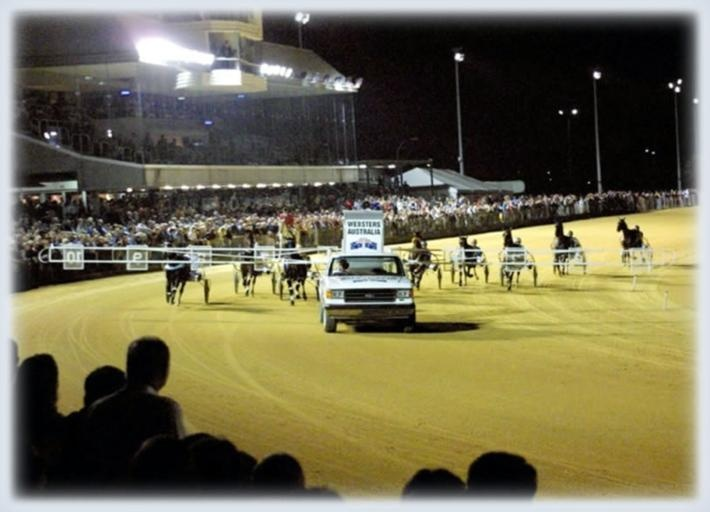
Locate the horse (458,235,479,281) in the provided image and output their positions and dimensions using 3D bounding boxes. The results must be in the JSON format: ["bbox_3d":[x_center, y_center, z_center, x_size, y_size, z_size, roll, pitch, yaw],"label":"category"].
[{"bbox_3d":[4.507,-0.149,24.891,0.471,1.139,1.916,1,17,11],"label":"horse"}]

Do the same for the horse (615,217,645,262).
[{"bbox_3d":[12.375,-0.767,29.203,2.097,1.597,0.579,0,4,-31],"label":"horse"}]

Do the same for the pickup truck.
[{"bbox_3d":[0.301,0.851,15.330,2.149,1.787,1.987,-2,3,-1],"label":"pickup truck"}]

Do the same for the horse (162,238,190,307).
[{"bbox_3d":[-5.340,0.544,19.834,0.740,1.868,3.334,-3,4,-16],"label":"horse"}]

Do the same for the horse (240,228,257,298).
[{"bbox_3d":[-3.710,0.308,22.909,0.568,1.919,3.116,-1,10,-12],"label":"horse"}]
